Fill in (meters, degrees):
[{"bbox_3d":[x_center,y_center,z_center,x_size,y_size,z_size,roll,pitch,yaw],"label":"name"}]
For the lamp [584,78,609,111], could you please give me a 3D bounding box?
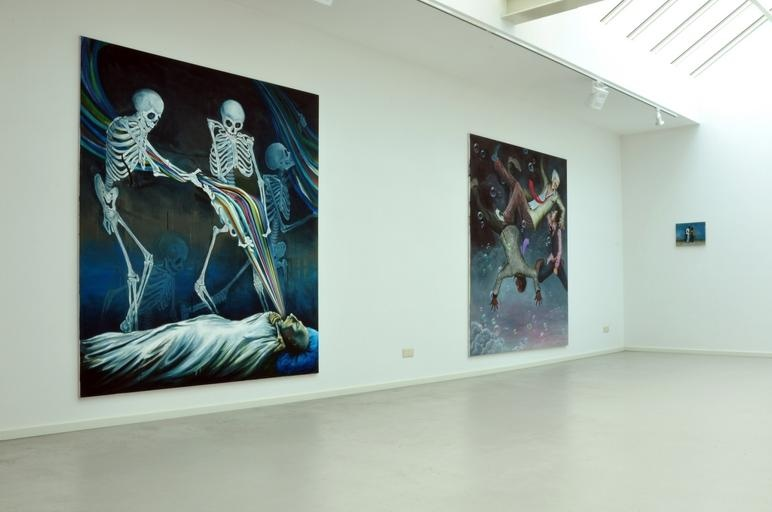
[{"bbox_3d":[4.678,-3.440,12.833,0.487,0.763,0.485,0,6,-39],"label":"lamp"}]
